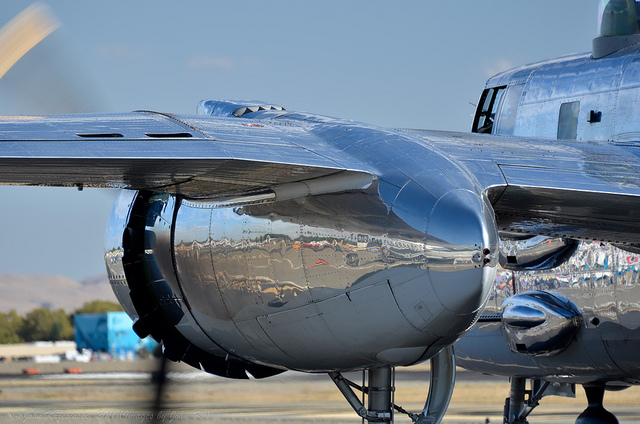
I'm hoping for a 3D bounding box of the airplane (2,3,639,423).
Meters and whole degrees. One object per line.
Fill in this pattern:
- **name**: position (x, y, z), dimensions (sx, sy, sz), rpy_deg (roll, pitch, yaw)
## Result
- **airplane**: position (-0.001, 0.405, 17.414), dimensions (9.012, 3.527, 9.249), rpy_deg (0, 0, 44)
